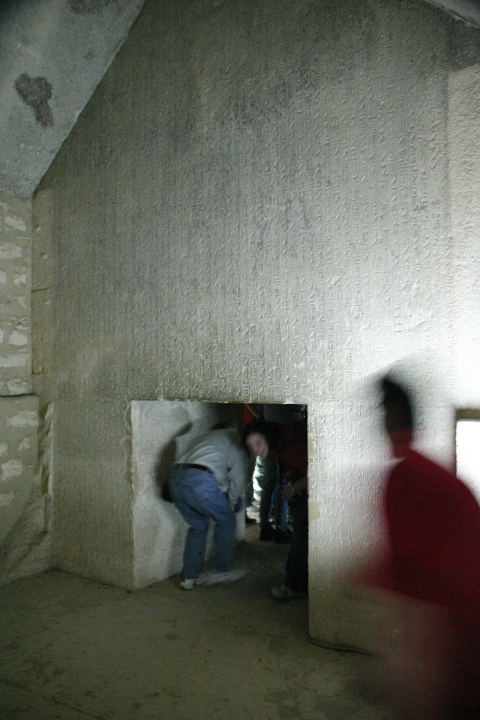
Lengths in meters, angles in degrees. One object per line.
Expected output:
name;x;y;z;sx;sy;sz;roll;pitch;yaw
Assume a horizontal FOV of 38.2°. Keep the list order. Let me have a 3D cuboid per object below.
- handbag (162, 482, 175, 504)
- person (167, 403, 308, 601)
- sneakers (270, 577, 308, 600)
handbag;-0.413;0.751;3.902;0.082;0.109;0.099;-3;-16;29
person;0.219;0.801;4.231;0.847;1.144;0.935;0;-5;23
sneakers;0.259;1.197;3.622;0.198;0.086;0.070;4;-6;7
